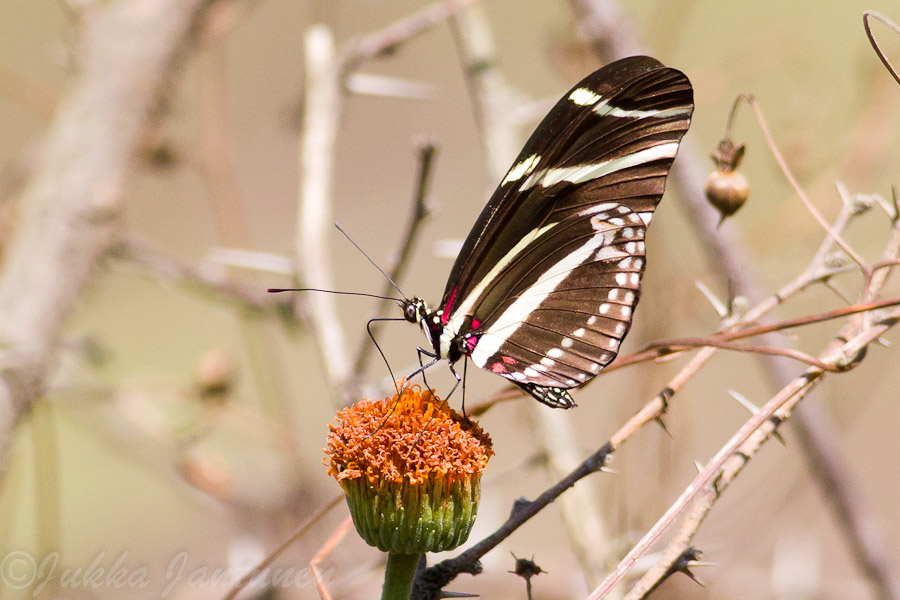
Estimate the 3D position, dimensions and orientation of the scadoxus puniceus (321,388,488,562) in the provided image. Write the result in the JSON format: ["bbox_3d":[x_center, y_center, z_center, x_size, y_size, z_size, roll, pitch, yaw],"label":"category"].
[{"bbox_3d":[-0.071,0.282,1.876,0.278,0.286,0.078,2,-8,0],"label":"scadoxus puniceus"}]

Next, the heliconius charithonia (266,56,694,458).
[{"bbox_3d":[0.278,-0.125,2.269,0.959,0.852,0.458,2,-3,23],"label":"heliconius charithonia"}]
